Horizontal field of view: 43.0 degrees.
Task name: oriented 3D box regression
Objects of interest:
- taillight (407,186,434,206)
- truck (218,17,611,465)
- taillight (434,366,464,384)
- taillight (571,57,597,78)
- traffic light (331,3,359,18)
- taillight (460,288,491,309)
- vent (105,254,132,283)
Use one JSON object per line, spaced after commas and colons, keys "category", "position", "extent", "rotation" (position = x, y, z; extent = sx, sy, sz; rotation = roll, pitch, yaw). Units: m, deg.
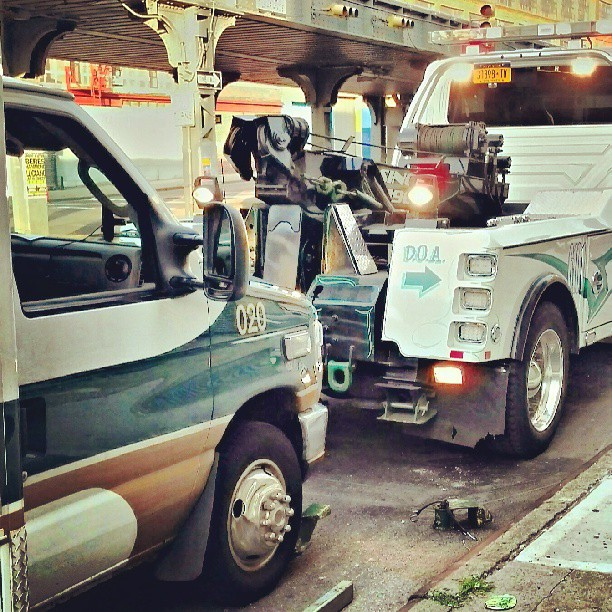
{"category": "taillight", "position": [0.854, -0.821, 5.818], "extent": [0.062, 0.117, 0.225], "rotation": [-6, 1, -42]}
{"category": "truck", "position": [1.410, -0.973, 7.046], "extent": [2.505, 3.163, 4.484], "rotation": [5, 11, 34]}
{"category": "taillight", "position": [0.921, 0.453, 5.026], "extent": [0.184, 0.091, 0.057], "rotation": [-6, 1, 15]}
{"category": "taillight", "position": [2.737, -2.353, 7.650], "extent": [0.153, 0.151, 0.182], "rotation": [-4, 15, -6]}
{"category": "traffic light", "position": [1.029, -7.948, 20.914], "extent": [0.445, 0.224, 0.495], "rotation": [23, 33, 31]}
{"category": "taillight", "position": [1.048, -0.037, 4.819], "extent": [0.185, 0.100, 0.024], "rotation": [-5, 1, 29]}
{"category": "vent", "position": [-0.716, -0.139, 2.948], "extent": [0.086, 0.124, 0.028], "rotation": [-15, -17, 11]}
